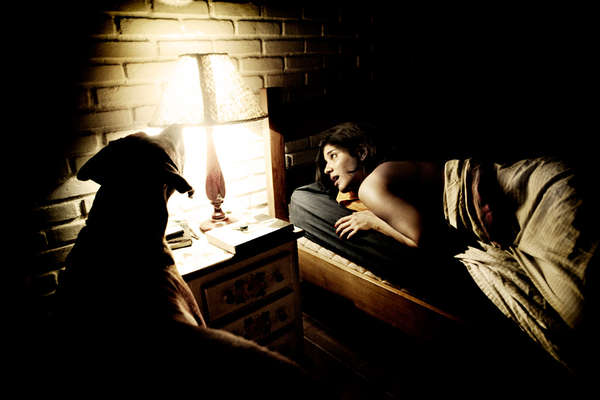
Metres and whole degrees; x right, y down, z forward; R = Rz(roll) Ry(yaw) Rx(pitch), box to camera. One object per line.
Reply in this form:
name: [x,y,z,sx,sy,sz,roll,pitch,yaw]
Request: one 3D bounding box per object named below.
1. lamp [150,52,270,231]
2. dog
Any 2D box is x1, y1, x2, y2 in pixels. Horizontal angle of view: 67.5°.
lamp: [-0.399,-0.259,1.992,0.529,0.733,0.511,-16,16,-41]
dog: [-0.488,0.019,1.653,0.313,0.894,0.454,-1,-25,5]
